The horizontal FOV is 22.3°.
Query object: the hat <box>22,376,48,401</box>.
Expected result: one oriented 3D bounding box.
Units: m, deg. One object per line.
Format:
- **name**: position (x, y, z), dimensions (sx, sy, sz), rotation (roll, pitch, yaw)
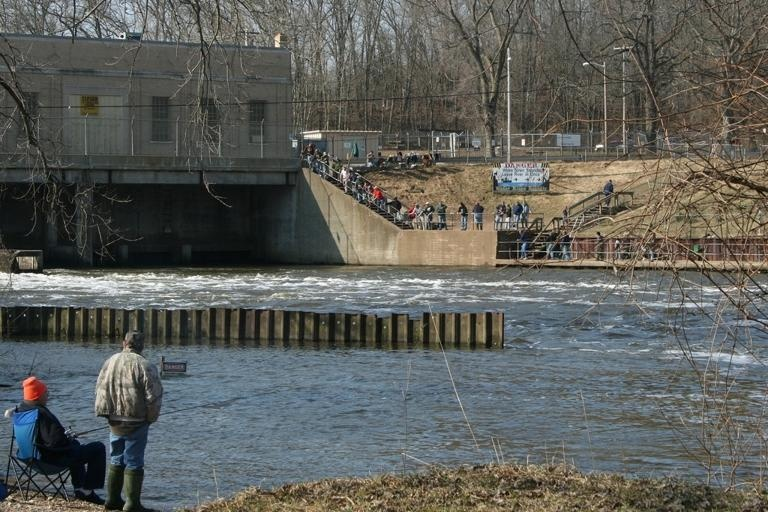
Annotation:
- **hat**: position (-8.903, 3.328, 49.326), dimensions (0.611, 0.638, 0.607), rotation (0, 12, -9)
